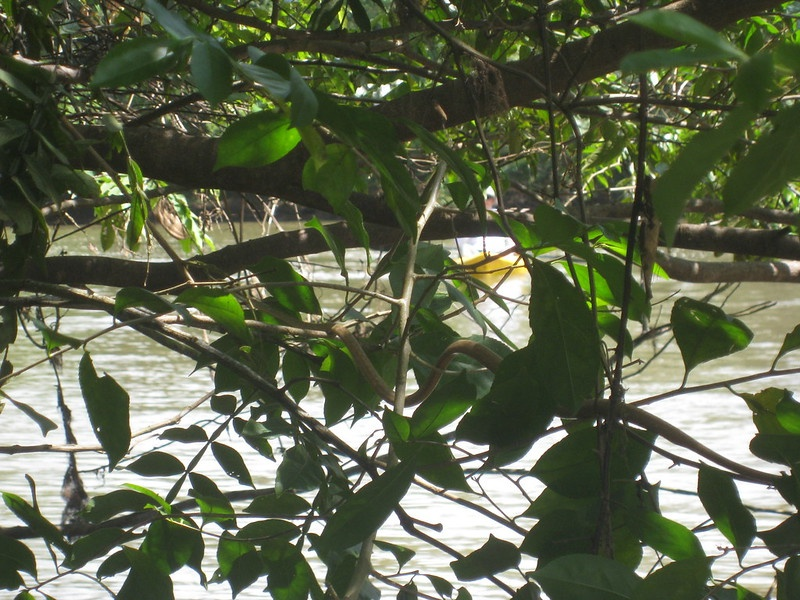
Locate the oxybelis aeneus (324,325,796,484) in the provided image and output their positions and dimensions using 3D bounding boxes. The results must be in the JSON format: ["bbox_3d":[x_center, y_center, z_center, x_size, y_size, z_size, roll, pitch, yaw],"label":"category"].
[{"bbox_3d":[0.229,0.166,2.376,0.711,0.221,0.171,6,-27,-3],"label":"oxybelis aeneus"}]
